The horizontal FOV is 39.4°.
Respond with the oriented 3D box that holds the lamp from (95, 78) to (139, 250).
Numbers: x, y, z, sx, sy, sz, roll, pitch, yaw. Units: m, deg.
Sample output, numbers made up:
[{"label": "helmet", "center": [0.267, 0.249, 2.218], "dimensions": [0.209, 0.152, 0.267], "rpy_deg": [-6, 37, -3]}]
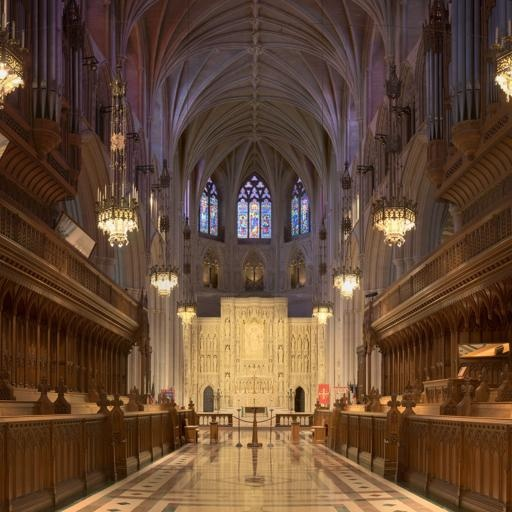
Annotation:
[{"label": "lamp", "center": [-3.302, -2.399, 17.158], "dimensions": [0.703, 4.141, 0.876], "rpy_deg": [0, 1, 18]}]
